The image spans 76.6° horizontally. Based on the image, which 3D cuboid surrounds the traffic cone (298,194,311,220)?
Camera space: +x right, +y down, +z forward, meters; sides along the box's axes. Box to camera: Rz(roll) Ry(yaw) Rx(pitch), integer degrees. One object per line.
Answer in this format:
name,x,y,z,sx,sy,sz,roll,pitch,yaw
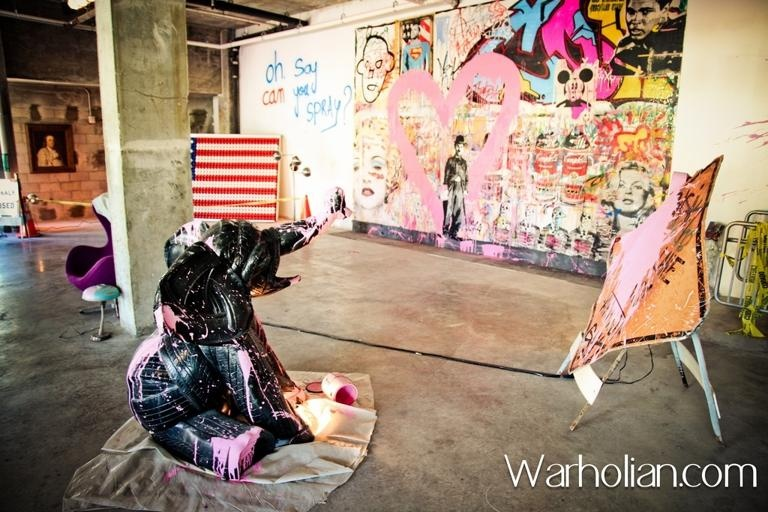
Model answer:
traffic cone,-1.847,-1.186,11.569,0.236,0.504,0.873,1,12,-9
